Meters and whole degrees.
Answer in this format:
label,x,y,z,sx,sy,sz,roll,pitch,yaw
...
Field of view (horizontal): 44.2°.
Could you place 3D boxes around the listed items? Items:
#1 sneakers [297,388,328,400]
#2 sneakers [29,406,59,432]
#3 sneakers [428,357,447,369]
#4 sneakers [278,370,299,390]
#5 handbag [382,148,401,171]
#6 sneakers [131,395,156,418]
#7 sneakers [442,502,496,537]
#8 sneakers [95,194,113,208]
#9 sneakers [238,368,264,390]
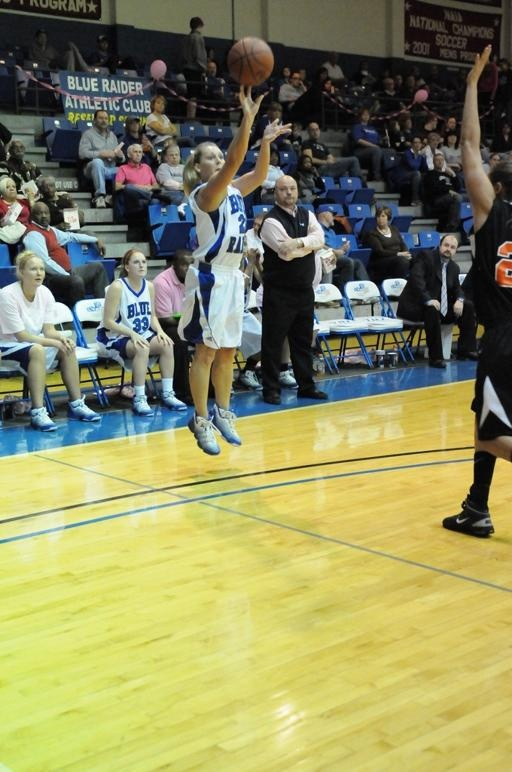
label,x,y,z,sx,sy,sz,roll,pitch,yaw
sneakers,0.526,0.078,6.064,0.287,0.108,0.105,-1,1,28
sneakers,-1.665,0.275,5.000,0.112,0.140,0.326,-8,11,-43
sneakers,2.200,-0.259,7.634,0.085,0.084,0.220,-3,-2,-10
sneakers,0.331,-0.062,6.680,0.102,0.118,0.287,-8,9,-24
handbag,2.906,-4.962,13.784,0.551,0.510,0.145,11,-11,-26
sneakers,-0.990,0.181,5.511,0.106,0.116,0.262,-8,14,-31
sneakers,0.941,0.588,2.872,0.100,0.156,0.251,-7,15,-41
sneakers,-2.260,-2.722,9.341,0.150,0.153,0.367,-7,6,-16
sneakers,-0.070,-0.094,6.689,0.123,0.152,0.362,-17,35,-38
